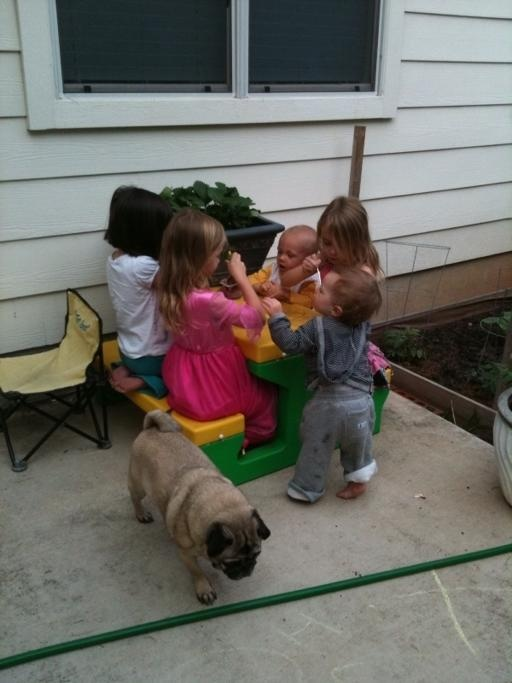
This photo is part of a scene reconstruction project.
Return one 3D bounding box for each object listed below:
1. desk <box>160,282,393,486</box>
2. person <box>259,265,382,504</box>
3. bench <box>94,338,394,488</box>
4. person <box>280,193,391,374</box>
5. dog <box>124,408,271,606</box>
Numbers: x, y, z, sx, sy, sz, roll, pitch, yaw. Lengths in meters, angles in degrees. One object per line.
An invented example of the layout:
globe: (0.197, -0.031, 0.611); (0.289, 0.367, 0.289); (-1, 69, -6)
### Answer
desk: (-0.057, 0.232, 2.722); (0.857, 0.755, 1.190); (-17, 33, -27)
person: (0.296, 0.226, 2.303); (0.552, 1.071, 0.364); (1, 29, 0)
bench: (-0.052, 0.175, 2.595); (0.854, 0.417, 0.872); (-16, 27, -35)
person: (0.390, -0.242, 2.714); (0.504, 0.910, 0.465); (0, 21, -11)
dog: (-0.227, 0.617, 1.953); (0.233, 0.372, 0.633); (-22, 47, -31)
